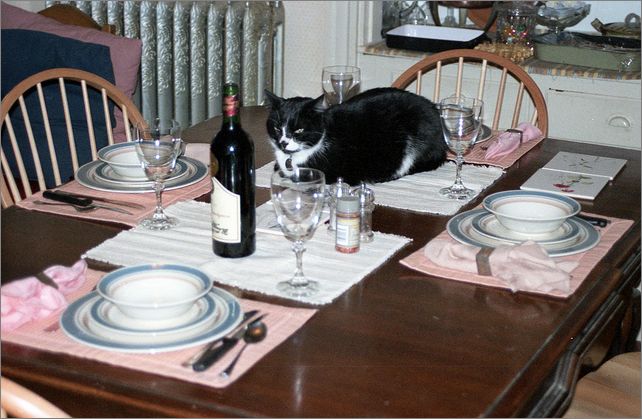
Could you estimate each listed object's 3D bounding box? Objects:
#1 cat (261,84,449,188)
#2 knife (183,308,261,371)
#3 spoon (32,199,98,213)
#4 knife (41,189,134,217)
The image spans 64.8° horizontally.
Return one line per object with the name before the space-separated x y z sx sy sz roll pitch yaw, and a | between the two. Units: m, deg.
cat | 0.142 -0.227 1.564 0.532 0.240 0.288 -15 26 -15
knife | -0.163 0.225 0.863 0.042 0.013 0.173 25 31 25
spoon | -0.636 -0.009 1.265 0.182 0.027 0.024 3 9 5
knife | -0.620 -0.022 1.288 0.309 0.024 0.079 10 29 19
